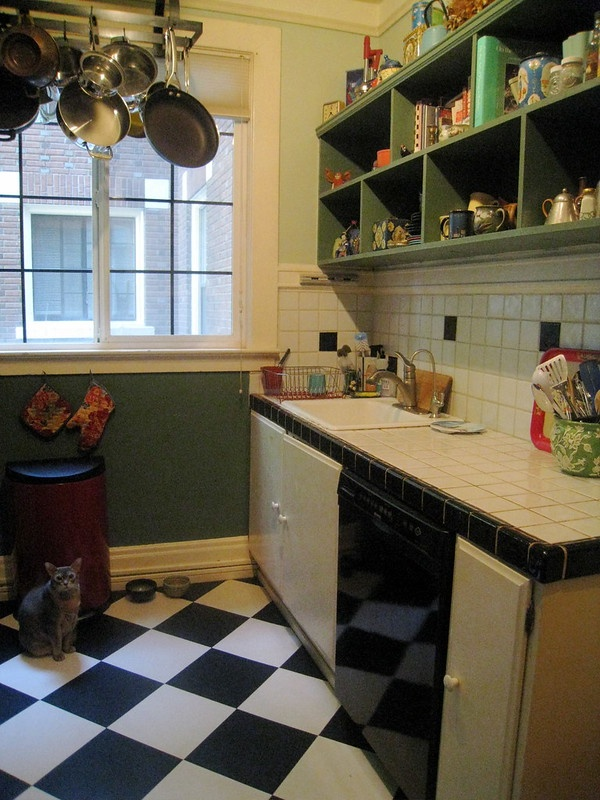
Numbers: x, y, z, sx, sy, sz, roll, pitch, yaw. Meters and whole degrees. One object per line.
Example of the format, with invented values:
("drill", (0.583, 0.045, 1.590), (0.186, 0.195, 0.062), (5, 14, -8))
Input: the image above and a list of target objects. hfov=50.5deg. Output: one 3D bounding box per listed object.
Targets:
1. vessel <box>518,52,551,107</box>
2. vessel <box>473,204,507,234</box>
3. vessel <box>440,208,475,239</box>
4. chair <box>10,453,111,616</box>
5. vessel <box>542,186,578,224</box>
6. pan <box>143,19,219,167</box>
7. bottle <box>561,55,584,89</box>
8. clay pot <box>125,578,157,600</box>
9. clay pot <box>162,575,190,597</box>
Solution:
("vessel", (0.570, -0.759, 1.530), (0.089, 0.105, 0.092), (-8, 15, -18))
("vessel", (0.487, -0.468, 1.664), (0.098, 0.076, 0.071), (6, 8, 37))
("vessel", (0.441, -0.505, 1.834), (0.105, 0.107, 0.071), (7, 11, 32))
("chair", (-0.923, 0.532, 2.449), (0.353, 0.549, 0.172), (-2, 7, -25))
("vessel", (0.573, -0.420, 1.406), (0.071, 0.088, 0.196), (3, 7, 19))
("pan", (-0.449, -1.085, 2.288), (0.301, 0.077, 0.559), (14, -29, 4))
("bottle", (0.577, -0.694, 1.351), (0.045, 0.066, 0.029), (4, 7, 23))
("clay pot", (-0.673, 0.785, 2.682), (0.089, 0.054, 0.092), (-2, 11, 0))
("clay pot", (-0.525, 0.781, 2.708), (0.081, 0.056, 0.088), (1, -3, 0))
